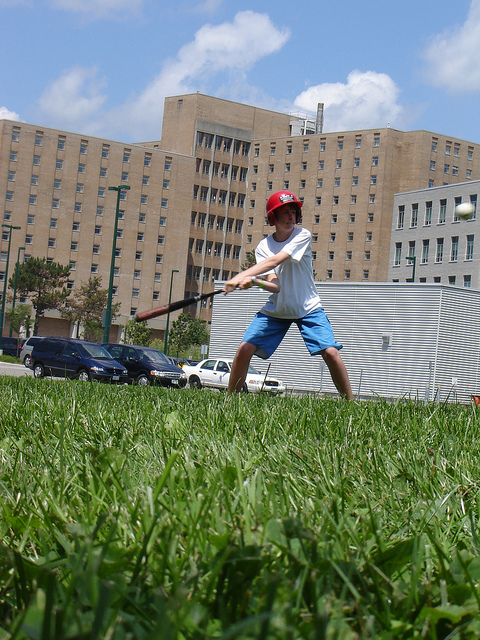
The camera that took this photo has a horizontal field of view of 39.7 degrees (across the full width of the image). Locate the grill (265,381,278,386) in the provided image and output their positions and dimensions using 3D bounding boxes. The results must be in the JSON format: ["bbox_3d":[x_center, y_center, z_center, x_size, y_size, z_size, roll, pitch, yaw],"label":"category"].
[{"bbox_3d":[1.238,2.374,25.338,0.417,0.178,0.578,4,-3,4],"label":"grill"}]

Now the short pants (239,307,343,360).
[{"bbox_3d":[0.444,0.095,5.461,0.829,0.466,0.466,3,-4,35],"label":"short pants"}]

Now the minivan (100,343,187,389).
[{"bbox_3d":[-3.747,1.672,24.338,3.858,1.568,1.725,3,-7,41],"label":"minivan"}]

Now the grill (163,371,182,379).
[{"bbox_3d":[-2.292,1.875,23.090,0.156,0.239,0.826,2,-4,44],"label":"grill"}]

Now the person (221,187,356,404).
[{"bbox_3d":[0.389,-0.286,5.391,1.062,1.841,1.362,5,-3,3],"label":"person"}]
